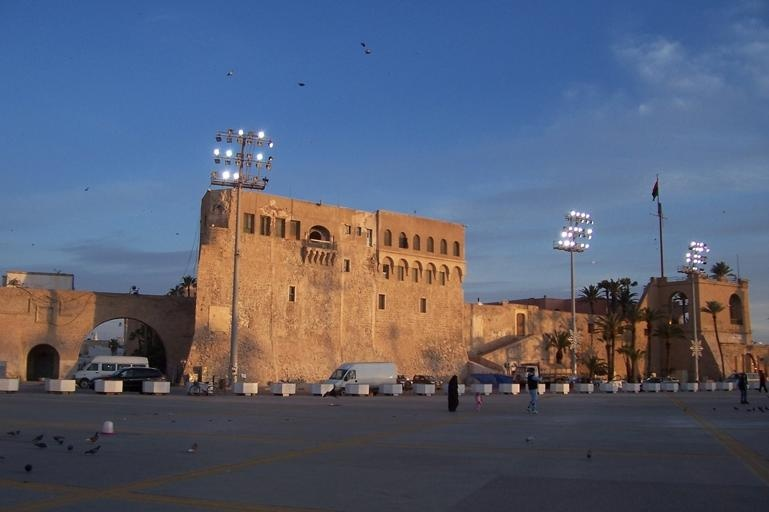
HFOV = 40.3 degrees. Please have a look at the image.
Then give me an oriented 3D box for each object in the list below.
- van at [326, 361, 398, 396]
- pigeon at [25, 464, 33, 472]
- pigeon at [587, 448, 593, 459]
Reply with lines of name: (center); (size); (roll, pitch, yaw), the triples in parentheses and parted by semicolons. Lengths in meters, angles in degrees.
van: (-1.576, 7.805, 66.657); (4.556, 1.914, 1.787); (8, -13, -33)
pigeon: (-11.981, 7.208, 35.444); (0.274, 0.198, 0.244); (-2, -8, 4)
pigeon: (7.252, 7.115, 37.414); (0.217, 0.289, 0.296); (-1, 3, 2)
